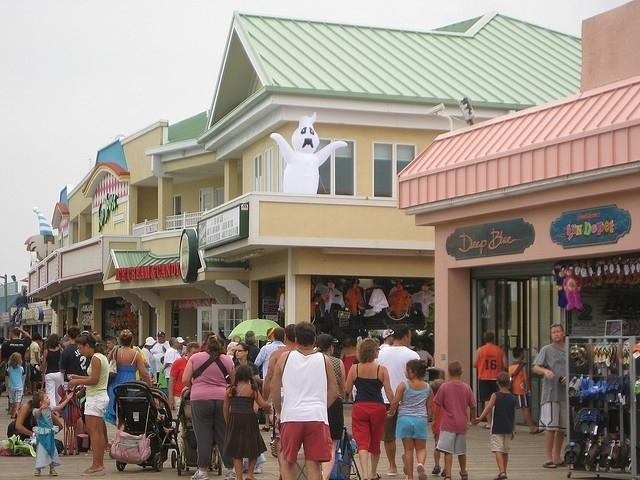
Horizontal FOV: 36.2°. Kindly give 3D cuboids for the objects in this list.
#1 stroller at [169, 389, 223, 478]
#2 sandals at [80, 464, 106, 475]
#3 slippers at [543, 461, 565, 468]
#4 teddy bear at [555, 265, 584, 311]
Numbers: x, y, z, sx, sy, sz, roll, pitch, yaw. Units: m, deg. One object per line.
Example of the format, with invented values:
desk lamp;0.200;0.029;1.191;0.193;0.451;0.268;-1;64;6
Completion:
stroller;-2.140;3.319;16.858;0.736;1.489;1.306;4;-13;-23
sandals;-3.943;3.972;16.838;0.332;0.310;0.154;2;-8;13
slippers;4.155;4.020;17.434;0.380;0.134;0.181;3;-13;-21
teddy bear;5.138;1.001;20.313;0.555;0.899;0.320;-8;-13;31
